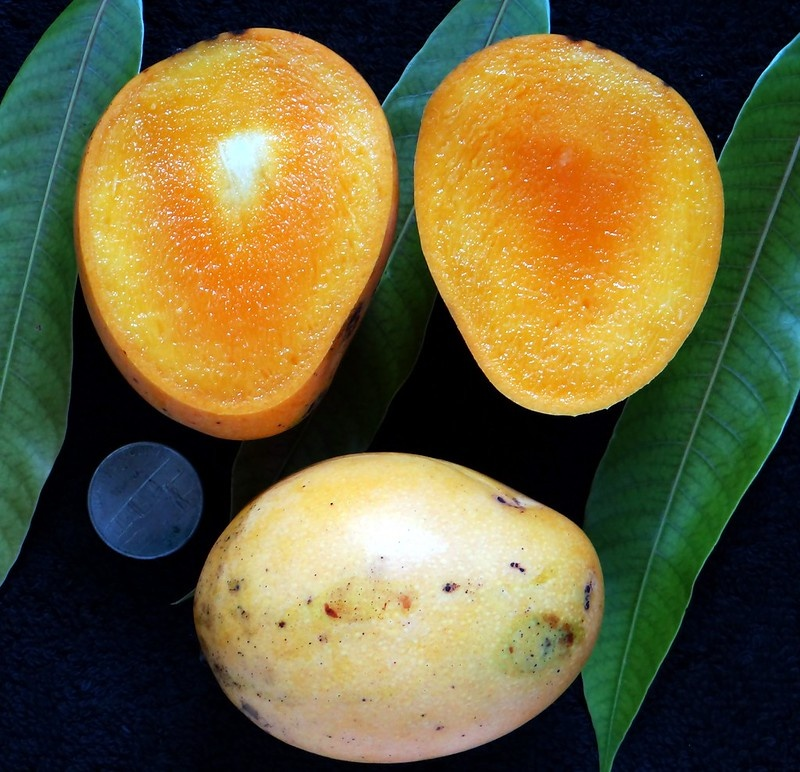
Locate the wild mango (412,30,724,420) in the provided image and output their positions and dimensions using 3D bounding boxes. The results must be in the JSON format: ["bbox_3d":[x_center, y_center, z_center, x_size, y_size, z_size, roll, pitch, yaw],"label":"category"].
[{"bbox_3d":[0.129,-0.123,0.795,0.217,0.160,0.237,-19,58,-11],"label":"wild mango"}]

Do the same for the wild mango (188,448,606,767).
[{"bbox_3d":[0.002,0.157,0.834,0.292,0.171,0.180,4,88,4],"label":"wild mango"}]

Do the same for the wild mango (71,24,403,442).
[{"bbox_3d":[-0.116,-0.112,0.811,0.248,0.199,0.230,-20,58,-12],"label":"wild mango"}]
